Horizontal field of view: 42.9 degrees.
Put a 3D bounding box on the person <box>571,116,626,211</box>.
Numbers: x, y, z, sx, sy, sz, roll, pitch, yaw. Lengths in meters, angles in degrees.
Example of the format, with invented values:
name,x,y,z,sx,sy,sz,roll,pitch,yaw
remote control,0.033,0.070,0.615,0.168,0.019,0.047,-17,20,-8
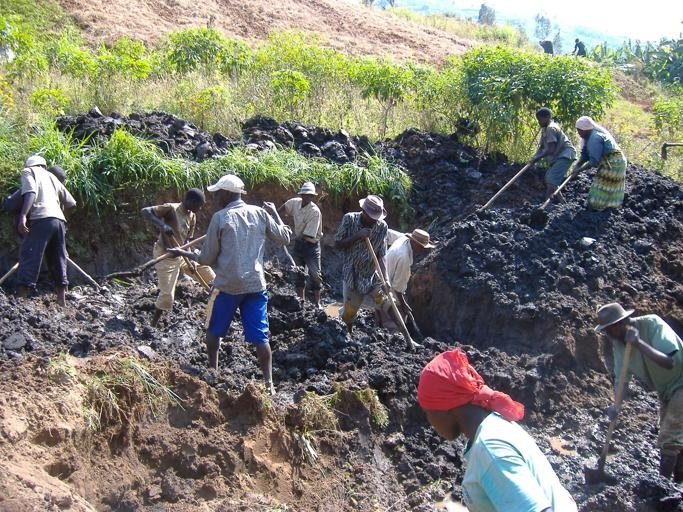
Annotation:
name,x,y,z,sx,sy,sz,roll,pitch,yaw
person,4.365,-1.529,14.771,1.056,1.417,0.699,17,16,17

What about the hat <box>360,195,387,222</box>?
name,x,y,z,sx,sy,sz,roll,pitch,yaw
hat,0.488,-0.710,12.950,0.352,0.400,0.511,22,18,30

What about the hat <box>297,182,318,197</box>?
name,x,y,z,sx,sy,sz,roll,pitch,yaw
hat,-0.623,-1.152,15.093,0.330,0.212,0.383,3,5,1

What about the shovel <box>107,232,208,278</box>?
name,x,y,z,sx,sy,sz,roll,pitch,yaw
shovel,-2.962,0.006,13.812,0.157,1.151,0.176,41,20,-57

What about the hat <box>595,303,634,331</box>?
name,x,y,z,sx,sy,sz,roll,pitch,yaw
hat,3.514,0.849,11.332,0.346,0.159,0.388,-34,3,-30

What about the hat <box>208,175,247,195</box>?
name,x,y,z,sx,sy,sz,roll,pitch,yaw
hat,-1.588,-0.959,11.813,0.425,0.215,0.303,1,4,13

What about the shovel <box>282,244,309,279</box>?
name,x,y,z,sx,sy,sz,roll,pitch,yaw
shovel,-0.788,0.109,15.040,0.349,0.322,0.866,16,8,6

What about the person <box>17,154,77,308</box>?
name,x,y,z,sx,sy,sz,roll,pitch,yaw
person,-4.479,-0.376,13.115,0.780,2.005,0.897,4,16,-23

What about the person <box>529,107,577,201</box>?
name,x,y,z,sx,sy,sz,roll,pitch,yaw
person,3.764,-1.804,15.628,0.861,1.518,0.781,14,15,10

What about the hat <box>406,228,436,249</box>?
name,x,y,z,sx,sy,sz,roll,pitch,yaw
hat,1.242,-0.188,13.651,0.368,0.140,0.357,37,4,-7
